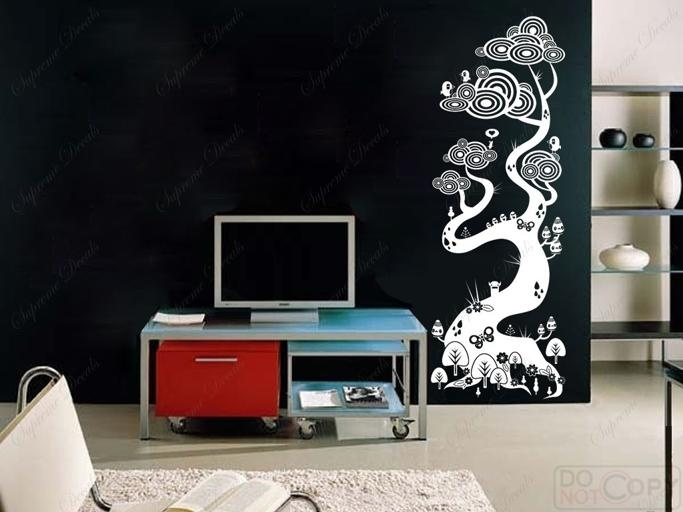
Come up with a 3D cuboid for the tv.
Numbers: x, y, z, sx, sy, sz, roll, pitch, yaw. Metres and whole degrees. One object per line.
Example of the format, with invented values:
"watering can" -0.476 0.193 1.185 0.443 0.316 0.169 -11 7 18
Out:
"tv" -0.405 0.069 4.848 0.680 0.551 0.209 0 -3 0
